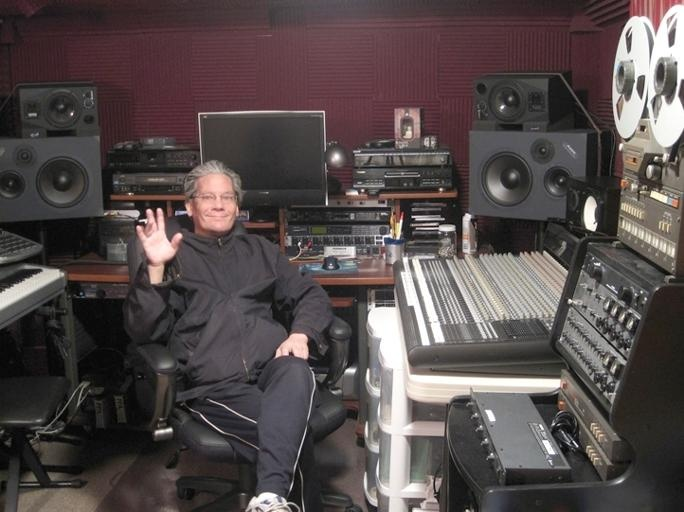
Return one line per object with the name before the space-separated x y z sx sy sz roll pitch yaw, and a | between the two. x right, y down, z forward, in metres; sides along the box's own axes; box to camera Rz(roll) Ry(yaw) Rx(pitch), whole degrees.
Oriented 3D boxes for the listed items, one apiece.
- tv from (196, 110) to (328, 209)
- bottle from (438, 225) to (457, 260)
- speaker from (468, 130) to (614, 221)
tv | -0.494 -0.610 3.518 0.637 0.515 0.087 0 3 -1
bottle | 0.694 -0.090 3.684 0.127 0.218 0.137 -3 15 1
speaker | 1.166 -0.504 3.379 0.710 0.520 0.385 8 18 38
